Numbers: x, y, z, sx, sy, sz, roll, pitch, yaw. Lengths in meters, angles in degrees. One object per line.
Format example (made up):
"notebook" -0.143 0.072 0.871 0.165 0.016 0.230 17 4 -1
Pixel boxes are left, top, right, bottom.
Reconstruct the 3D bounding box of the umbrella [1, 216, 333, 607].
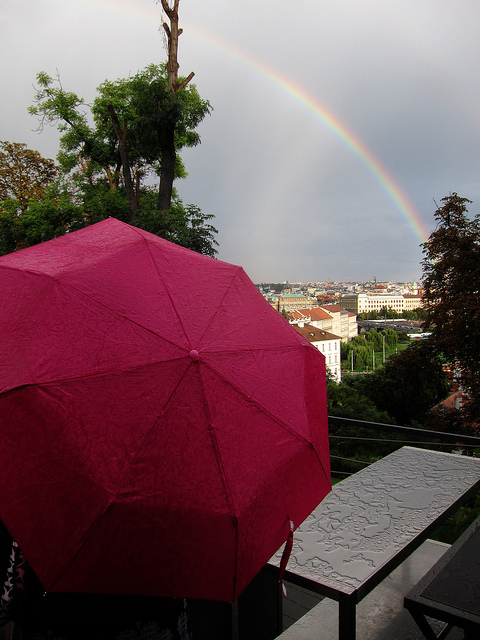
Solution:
"umbrella" -0.207 0.190 1.433 0.648 1.015 0.984 -6 -3 42
